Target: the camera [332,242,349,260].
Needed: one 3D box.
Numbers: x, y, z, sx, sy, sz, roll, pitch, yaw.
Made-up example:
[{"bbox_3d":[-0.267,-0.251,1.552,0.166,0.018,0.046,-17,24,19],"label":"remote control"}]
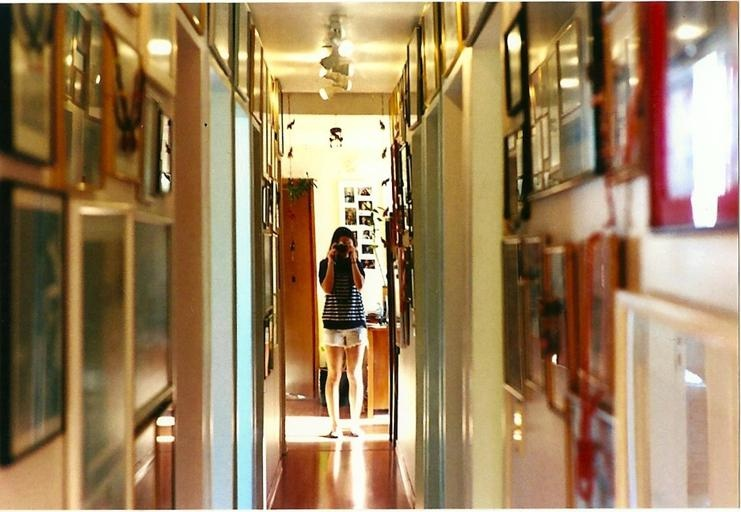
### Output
[{"bbox_3d":[-0.196,-0.031,3.965,0.088,0.107,0.046,-3,-27,1],"label":"camera"}]
